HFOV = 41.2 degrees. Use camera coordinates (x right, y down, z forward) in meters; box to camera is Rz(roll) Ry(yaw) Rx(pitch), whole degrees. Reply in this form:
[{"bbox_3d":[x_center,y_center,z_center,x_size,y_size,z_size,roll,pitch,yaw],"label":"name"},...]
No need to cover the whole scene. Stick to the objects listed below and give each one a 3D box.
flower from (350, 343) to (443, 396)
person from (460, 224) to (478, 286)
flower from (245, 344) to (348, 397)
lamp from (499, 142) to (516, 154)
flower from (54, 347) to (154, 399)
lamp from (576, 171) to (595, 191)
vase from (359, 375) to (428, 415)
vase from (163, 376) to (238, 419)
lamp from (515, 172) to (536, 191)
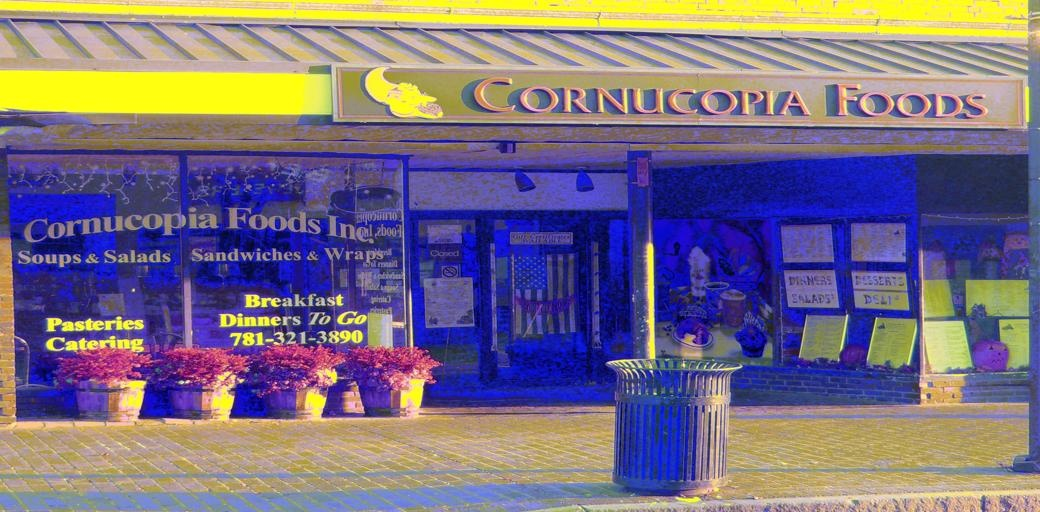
[{"bbox_3d":[-2.256,2.053,25.686,1.566,0.492,1.298,-2,5,-24],"label":"flower"},{"bbox_3d":[-1.037,-0.064,27.832,0.336,1.215,0.156,-2,-3,-7],"label":"person"},{"bbox_3d":[-4.070,2.037,25.054,1.317,0.544,1.252,-1,-4,23],"label":"flower"},{"bbox_3d":[-0.241,-1.968,25.538,0.465,0.163,0.212,-3,-10,-1],"label":"lamp"},{"bbox_3d":[-7.785,2.015,24.892,1.455,0.519,1.290,-6,-3,25],"label":"flower"},{"bbox_3d":[1.286,-1.455,27.923,0.417,0.265,0.445,2,-5,-28],"label":"lamp"},{"bbox_3d":[-2.329,2.697,25.709,1.103,0.436,0.876,-4,-9,35],"label":"vase"},{"bbox_3d":[-5.759,2.516,24.770,1.076,0.465,1.002,-2,-3,36],"label":"vase"},{"bbox_3d":[0.089,-1.450,27.578,0.386,0.406,0.124,-29,19,-3],"label":"lamp"}]
